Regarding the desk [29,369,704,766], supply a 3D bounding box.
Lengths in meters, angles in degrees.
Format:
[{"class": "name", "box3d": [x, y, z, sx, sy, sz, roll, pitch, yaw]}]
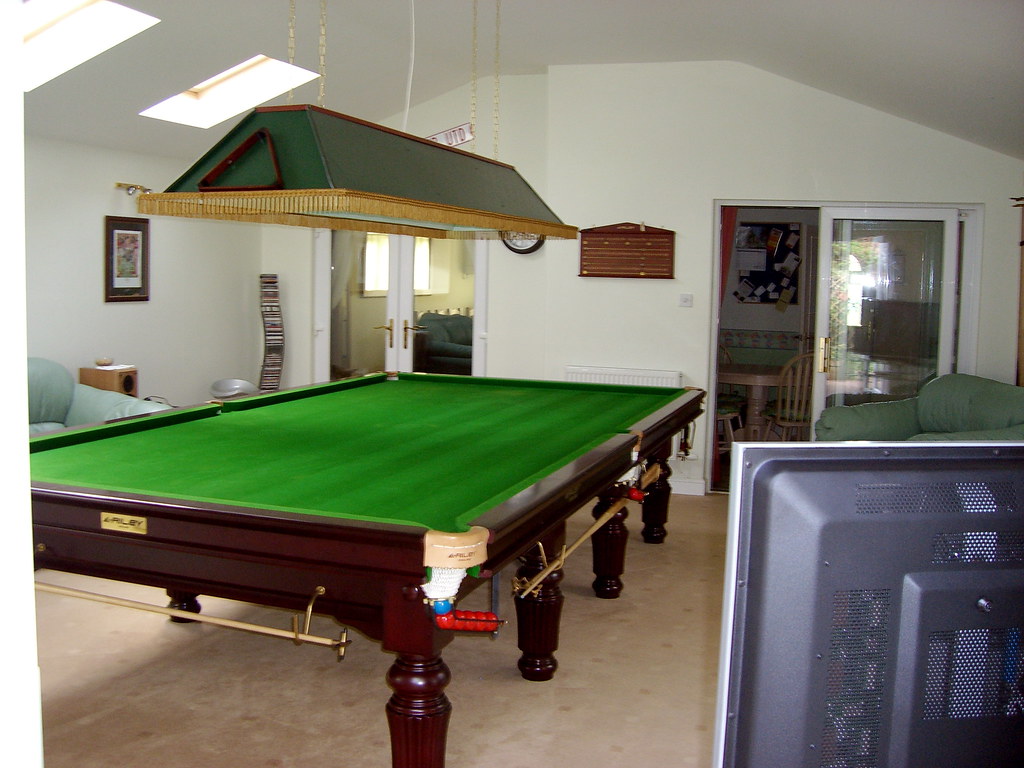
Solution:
[{"class": "desk", "box3d": [-0.301, 0.292, 3.068, 1.415, 0.502, 2.061, 3, 8, 30]}]

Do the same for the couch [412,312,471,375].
[{"class": "couch", "box3d": [-0.530, -0.351, 7.148, 0.517, 0.576, 0.352, -4, 25, -5]}]

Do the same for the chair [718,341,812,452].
[{"class": "chair", "box3d": [2.245, 0.088, 7.318, 0.733, 0.862, 1.849, 3, 8, 17]}]

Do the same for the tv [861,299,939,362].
[{"class": "tv", "box3d": [2.937, -0.399, 6.080, 0.326, 0.509, 0.583, -9, 9, -40]}]

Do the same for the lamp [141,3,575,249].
[{"class": "lamp", "box3d": [-0.544, -0.785, 3.144, 0.837, 0.359, 1.382, 5, 8, 27]}]
